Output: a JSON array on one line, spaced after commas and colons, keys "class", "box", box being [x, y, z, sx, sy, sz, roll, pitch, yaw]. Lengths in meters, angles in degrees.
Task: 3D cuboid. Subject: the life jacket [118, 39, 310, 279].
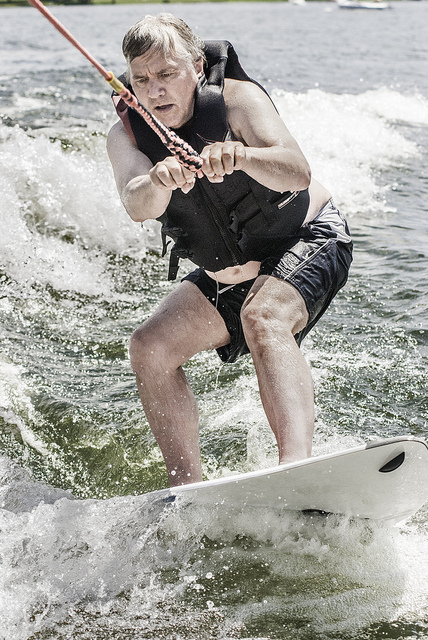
[{"class": "life jacket", "box": [-0.018, -0.581, 3.288, 0.700, 0.986, 0.391, 3, 24, 18]}]

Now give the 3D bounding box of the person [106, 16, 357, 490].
[{"class": "person", "box": [0.094, -0.192, 3.209, 0.908, 1.882, 0.989, -7, 23, -5]}]

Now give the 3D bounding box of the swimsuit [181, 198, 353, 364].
[{"class": "swimsuit", "box": [0.327, -0.112, 3.368, 0.472, 0.258, 0.797, 3, 37, 45]}]

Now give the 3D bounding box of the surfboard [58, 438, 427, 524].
[{"class": "surfboard", "box": [0.095, 0.588, 3.025, 1.274, 0.327, 0.116, -5, 46, 11]}]
